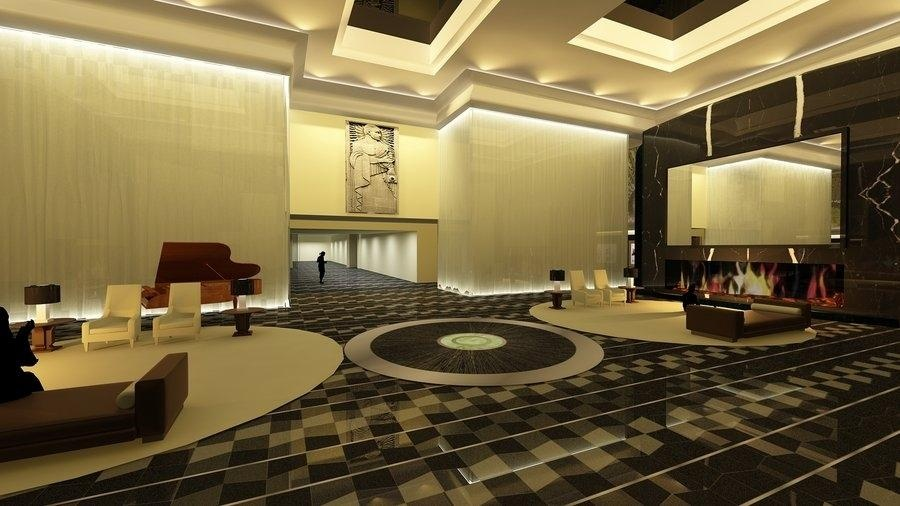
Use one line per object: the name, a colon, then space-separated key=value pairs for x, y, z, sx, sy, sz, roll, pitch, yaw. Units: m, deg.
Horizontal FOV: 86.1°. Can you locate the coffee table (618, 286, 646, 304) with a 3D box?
coffee table: x=6.040 y=1.380 z=16.338 sx=0.936 sy=0.417 sz=0.848 roll=0 pitch=0 yaw=-1

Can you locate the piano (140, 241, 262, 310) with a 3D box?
piano: x=-7.513 y=0.790 z=14.593 sx=3.107 sy=1.979 sz=1.576 roll=-3 pitch=-3 yaw=-24

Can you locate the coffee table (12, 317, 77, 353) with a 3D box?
coffee table: x=-9.763 y=1.918 z=11.661 sx=0.834 sy=1.185 sz=0.825 roll=0 pitch=1 yaw=-15

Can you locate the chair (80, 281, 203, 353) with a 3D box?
chair: x=-7.705 y=1.555 z=12.356 sx=3.292 sy=1.868 sz=1.614 roll=0 pitch=-5 yaw=-20

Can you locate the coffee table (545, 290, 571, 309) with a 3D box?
coffee table: x=3.270 y=1.502 z=15.351 sx=0.816 sy=0.370 sz=0.766 roll=-2 pitch=2 yaw=-35

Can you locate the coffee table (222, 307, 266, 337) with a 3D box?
coffee table: x=-5.385 y=1.752 z=12.614 sx=0.891 sy=0.465 sz=0.806 roll=1 pitch=-2 yaw=-16
